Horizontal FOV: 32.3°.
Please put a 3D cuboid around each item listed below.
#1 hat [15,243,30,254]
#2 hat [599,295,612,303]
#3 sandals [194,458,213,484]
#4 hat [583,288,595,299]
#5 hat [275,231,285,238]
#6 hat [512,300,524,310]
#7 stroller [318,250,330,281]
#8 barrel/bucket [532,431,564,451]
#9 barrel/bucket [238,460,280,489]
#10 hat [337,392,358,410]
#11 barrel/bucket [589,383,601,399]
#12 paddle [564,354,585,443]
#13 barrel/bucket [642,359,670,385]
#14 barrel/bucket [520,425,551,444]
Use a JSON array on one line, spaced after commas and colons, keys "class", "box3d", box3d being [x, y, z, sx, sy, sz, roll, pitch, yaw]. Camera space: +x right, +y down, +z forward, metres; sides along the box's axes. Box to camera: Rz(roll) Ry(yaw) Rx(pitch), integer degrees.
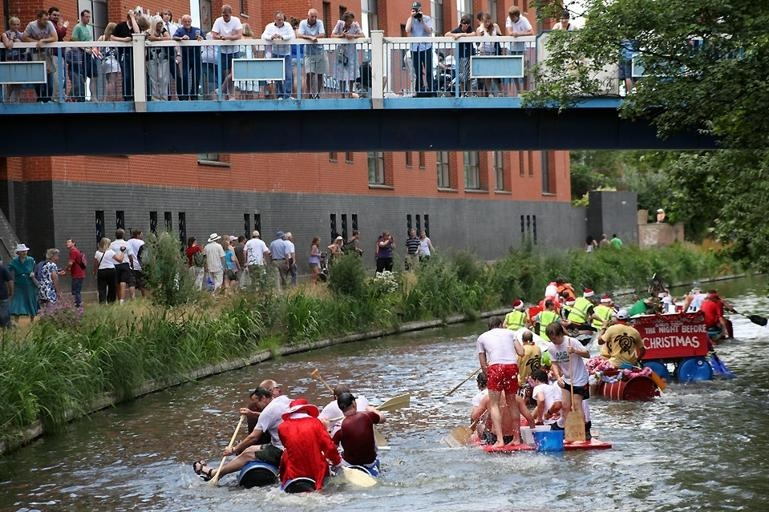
[{"class": "hat", "box3d": [-10.855, -0.222, 39.643, 0.298, 0.287, 1.033, -5, 14, -17]}, {"class": "hat", "box3d": [6.163, 1.252, 37.298, 0.246, 0.198, 0.185, -6, -5, 43]}, {"class": "sandals", "box3d": [-4.042, 4.791, 29.851, 0.255, 0.669, 0.163, -16, 24, 5]}, {"class": "hat", "box3d": [5.984, 1.134, 38.917, 0.414, 0.306, 0.674, -3, -3, 0]}, {"class": "hat", "box3d": [-4.066, -0.764, 51.411, 0.356, 0.252, 0.424, -11, 9, -16]}, {"class": "hat", "box3d": [3.874, 1.449, 38.635, 0.260, 0.297, 0.338, -5, 21, 23]}, {"class": "stroller", "box3d": [-2.311, 0.496, 50.287, 0.588, 0.836, 1.185, -1, -12, -3]}, {"class": "barrel/bucket", "box3d": [3.828, 4.314, 31.013, 0.501, 0.427, 0.451, -1, -5, 9]}, {"class": "barrel/bucket", "box3d": [-2.790, 4.787, 29.730, 0.522, 0.619, 0.639, 3, -6, 0]}, {"class": "hat", "box3d": [-0.840, 3.212, 29.865, 0.281, 0.433, 0.407, -3, 29, 9]}, {"class": "barrel/bucket", "box3d": [5.569, 3.532, 34.946, 0.254, 0.320, 0.288, -1, -6, 20]}, {"class": "paddle", "box3d": [4.484, 3.724, 31.258, 0.481, 1.094, 0.707, 1, 12, 7]}, {"class": "barrel/bucket", "box3d": [7.320, 3.025, 35.671, 0.519, 0.672, 0.602, 3, -17, 14]}, {"class": "barrel/bucket", "box3d": [3.498, 4.151, 31.244, 0.409, 0.340, 0.469, 0, -2, -11]}]
